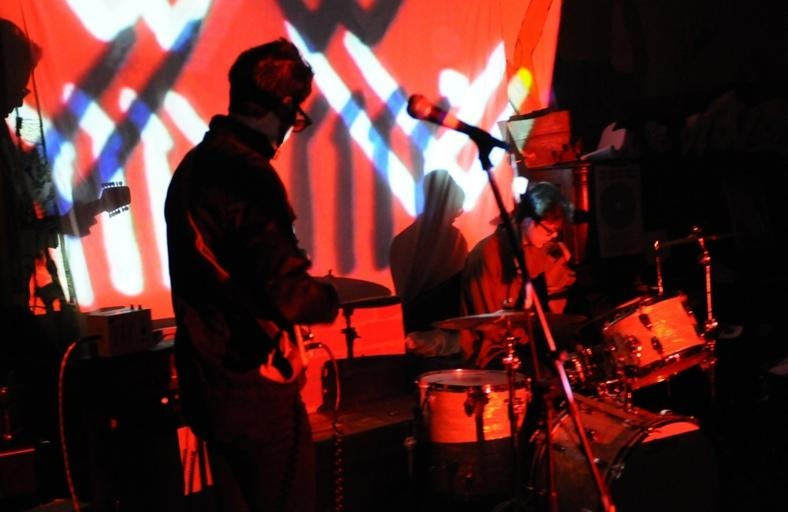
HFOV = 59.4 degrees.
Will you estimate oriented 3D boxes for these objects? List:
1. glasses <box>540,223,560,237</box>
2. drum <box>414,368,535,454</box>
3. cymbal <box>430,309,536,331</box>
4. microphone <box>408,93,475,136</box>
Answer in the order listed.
[{"bbox_3d":[1.099,-0.200,4.917,0.118,0.036,0.121,14,19,-49],"label":"glasses"},{"bbox_3d":[0.452,0.873,4.051,0.475,0.343,0.457,-2,2,0],"label":"drum"},{"bbox_3d":[0.556,0.385,4.199,0.260,0.047,0.268,-7,-11,-45],"label":"cymbal"},{"bbox_3d":[0.194,-0.661,3.180,0.304,0.183,0.153,3,-17,-39],"label":"microphone"}]
